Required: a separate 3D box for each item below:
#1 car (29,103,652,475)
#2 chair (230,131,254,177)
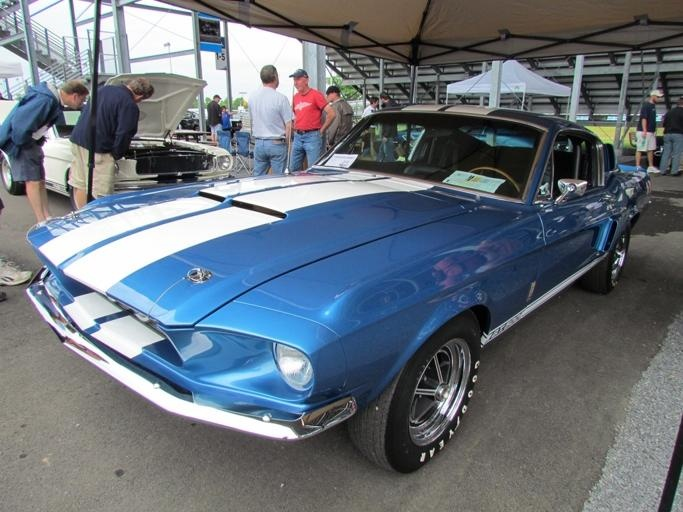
[{"bbox_3d":[0.752,-0.062,3.640,4.599,1.294,2.281,-16,25,-40],"label":"car"},{"bbox_3d":[-2.127,-2.256,10.523,0.653,0.668,0.563,1,-1,-17],"label":"chair"}]
